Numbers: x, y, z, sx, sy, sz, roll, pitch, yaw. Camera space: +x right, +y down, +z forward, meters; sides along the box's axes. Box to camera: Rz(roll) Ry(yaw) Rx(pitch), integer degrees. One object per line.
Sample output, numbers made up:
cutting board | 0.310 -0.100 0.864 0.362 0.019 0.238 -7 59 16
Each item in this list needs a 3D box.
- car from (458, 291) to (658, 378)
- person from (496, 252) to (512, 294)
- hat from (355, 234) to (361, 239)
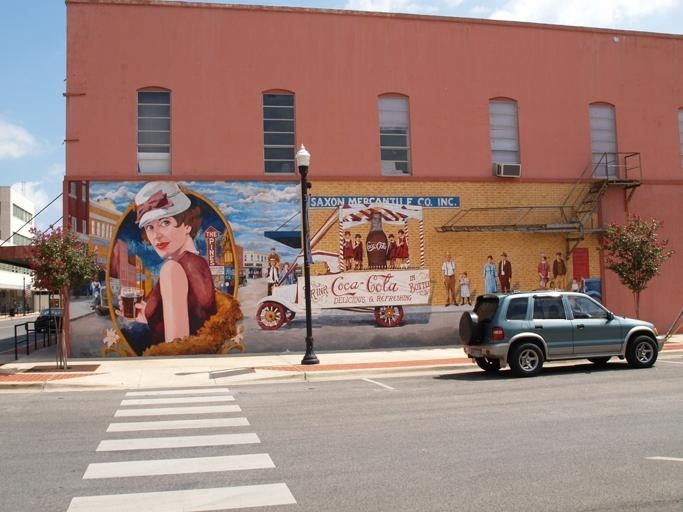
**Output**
car | 6.487 1.751 20.772 4.739 2.065 2.215 -6 12 25
person | 5.690 0.535 26.845 0.522 1.316 0.165 0 -2 -31
hat | 0.549 -0.643 25.973 0.136 0.039 0.147 -13 20 -27
